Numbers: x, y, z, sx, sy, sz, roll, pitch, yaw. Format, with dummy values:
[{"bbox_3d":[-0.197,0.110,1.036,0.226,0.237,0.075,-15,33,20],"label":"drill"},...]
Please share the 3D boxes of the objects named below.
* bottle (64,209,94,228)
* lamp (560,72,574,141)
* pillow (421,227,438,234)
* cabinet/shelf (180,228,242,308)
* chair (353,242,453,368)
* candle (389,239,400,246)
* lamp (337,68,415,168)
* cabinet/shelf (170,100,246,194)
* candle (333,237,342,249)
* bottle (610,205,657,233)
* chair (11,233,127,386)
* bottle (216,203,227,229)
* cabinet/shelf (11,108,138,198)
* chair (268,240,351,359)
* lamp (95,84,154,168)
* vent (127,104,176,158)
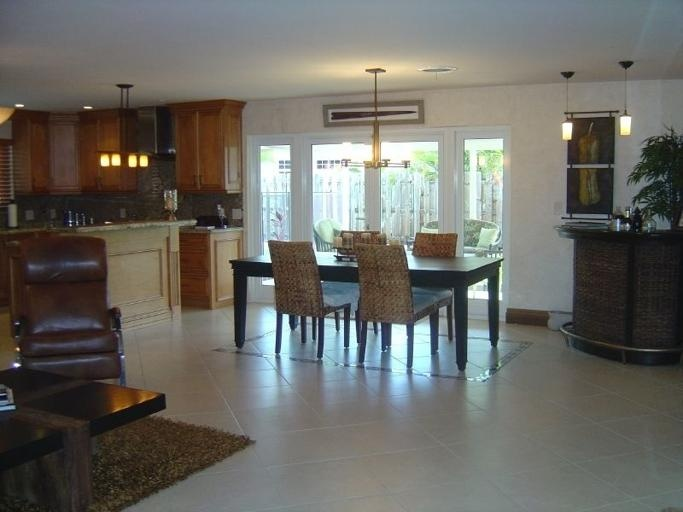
[{"bbox_3d":[-4.225,-0.621,8.764,0.440,0.229,0.522,-4,8,-23],"label":"bottle"},{"bbox_3d":[2.405,-1.609,5.878,0.204,0.678,0.188,-3,10,5],"label":"lamp"},{"bbox_3d":[1.110,-0.327,7.025,0.172,0.090,0.119,0,5,-8],"label":"pillow"},{"bbox_3d":[-1.920,0.158,7.870,0.887,0.980,0.753,2,6,28],"label":"cabinet/shelf"},{"bbox_3d":[0.548,0.399,5.171,0.718,1.011,0.865,1,6,37],"label":"chair"},{"bbox_3d":[0.504,-0.130,5.233,0.084,0.052,0.081,-4,7,-33],"label":"candle"},{"bbox_3d":[0.353,-1.431,5.882,1.170,0.982,0.832,-2,14,-7],"label":"lamp"},{"bbox_3d":[-1.825,-1.541,7.612,1.359,1.430,0.713,2,6,22],"label":"cabinet/shelf"},{"bbox_3d":[-0.043,-0.141,5.685,0.107,0.102,0.098,3,0,0],"label":"candle"},{"bbox_3d":[2.763,-0.337,5.227,0.347,0.187,0.466,6,8,25],"label":"bottle"},{"bbox_3d":[-2.185,0.382,4.365,0.998,1.330,1.292,-1,0,-21],"label":"chair"},{"bbox_3d":[-1.742,-0.584,7.903,0.147,0.317,0.441,-2,8,-13],"label":"bottle"},{"bbox_3d":[-3.902,-1.469,8.671,2.393,1.515,1.273,1,3,10],"label":"cabinet/shelf"},{"bbox_3d":[-0.297,0.397,5.245,0.766,1.114,0.443,-1,9,-7],"label":"chair"},{"bbox_3d":[-3.038,-1.804,7.635,0.795,1.141,0.791,-7,16,-44],"label":"lamp"},{"bbox_3d":[-2.691,-1.805,7.968,0.426,0.585,0.499,-9,17,-41],"label":"vent"}]
